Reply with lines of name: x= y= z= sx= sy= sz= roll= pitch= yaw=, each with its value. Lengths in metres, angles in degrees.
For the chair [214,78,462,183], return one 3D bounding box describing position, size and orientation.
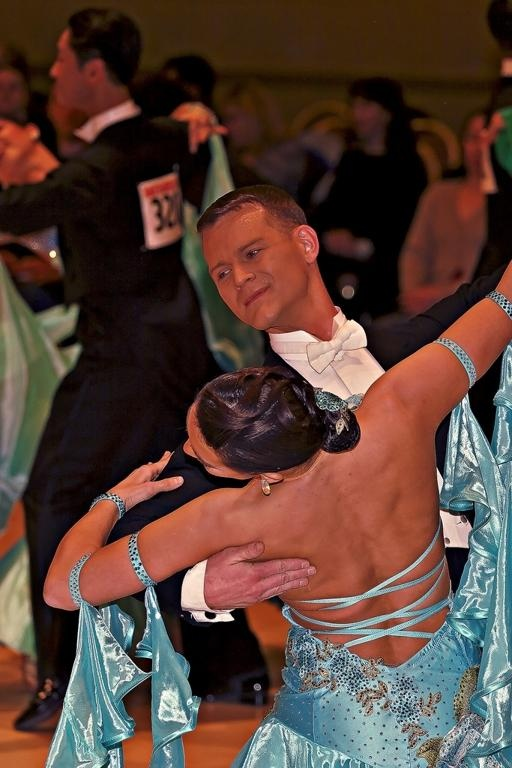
chair: x=0.212 y=-0.942 z=2.842 sx=0.527 sy=0.286 sz=1.242 roll=-9 pitch=21 yaw=-16
